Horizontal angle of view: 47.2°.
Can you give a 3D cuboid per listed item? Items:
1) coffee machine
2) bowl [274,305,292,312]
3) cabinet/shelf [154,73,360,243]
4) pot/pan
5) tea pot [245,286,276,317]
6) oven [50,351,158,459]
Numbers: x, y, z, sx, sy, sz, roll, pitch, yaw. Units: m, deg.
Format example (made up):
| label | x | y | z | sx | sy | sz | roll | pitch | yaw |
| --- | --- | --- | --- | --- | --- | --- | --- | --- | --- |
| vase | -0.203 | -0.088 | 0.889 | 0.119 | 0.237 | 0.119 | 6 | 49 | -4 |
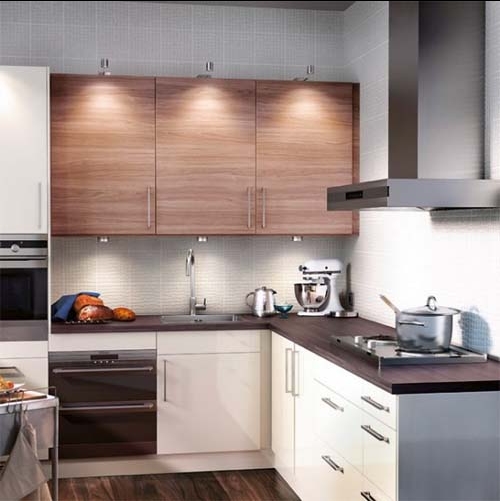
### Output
| label | x | y | z | sx | sy | sz | roll | pitch | yaw |
| --- | --- | --- | --- | --- | --- | --- | --- | --- | --- |
| coffee machine | 0.442 | 0.221 | 3.654 | 0.461 | 0.388 | 0.271 | 0 | 1 | -12 |
| bowl | 0.214 | 0.366 | 3.672 | 0.103 | 0.056 | 0.135 | 1 | 6 | 1 |
| cabinet/shelf | 0.024 | -0.588 | 3.543 | 1.325 | 0.758 | 0.451 | 0 | 0 | -8 |
| pot/pan | 0.697 | 0.285 | 2.301 | 0.295 | 0.197 | 0.219 | 0 | 0 | 5 |
| tea pot | 0.080 | 0.326 | 3.795 | 0.249 | 0.183 | 0.161 | 0 | 1 | -7 |
| oven | -0.764 | 0.905 | 3.470 | 0.783 | 0.657 | 0.523 | -6 | -10 | 14 |
